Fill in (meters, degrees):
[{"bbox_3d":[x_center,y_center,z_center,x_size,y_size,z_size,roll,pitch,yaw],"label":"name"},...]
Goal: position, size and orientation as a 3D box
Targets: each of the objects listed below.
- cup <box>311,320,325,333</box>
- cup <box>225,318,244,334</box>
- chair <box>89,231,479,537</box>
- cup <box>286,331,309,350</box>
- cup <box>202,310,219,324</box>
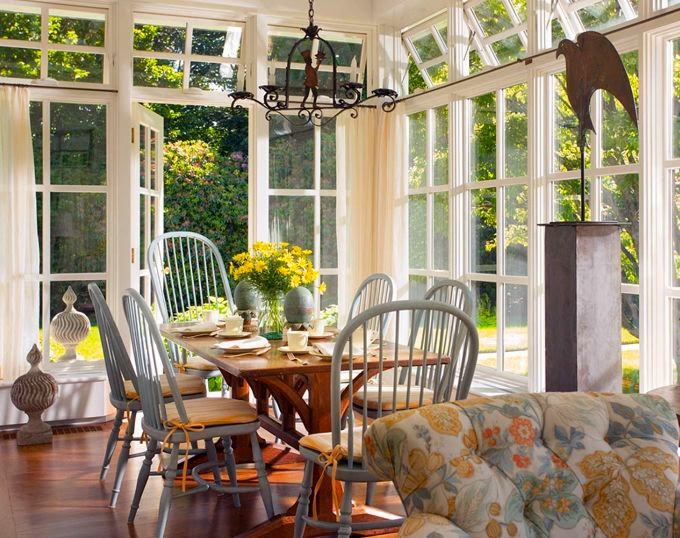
[{"bbox_3d":[-0.111,0.303,3.393,0.062,0.060,0.070,2,4,-5],"label":"cup"},{"bbox_3d":[-0.562,0.306,3.418,0.089,0.070,0.068,2,0,42],"label":"cup"},{"bbox_3d":[-0.050,0.562,2.887,1.242,0.827,1.285,0,-4,-15],"label":"chair"},{"bbox_3d":[-0.200,0.329,2.990,0.072,0.067,0.088,1,4,-42],"label":"cup"},{"bbox_3d":[-0.779,0.287,3.840,0.089,0.078,0.071,0,1,-4],"label":"cup"}]
